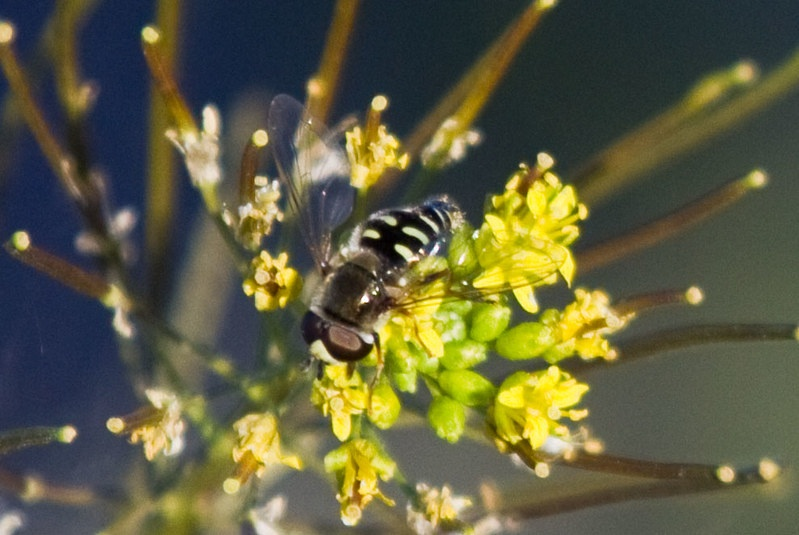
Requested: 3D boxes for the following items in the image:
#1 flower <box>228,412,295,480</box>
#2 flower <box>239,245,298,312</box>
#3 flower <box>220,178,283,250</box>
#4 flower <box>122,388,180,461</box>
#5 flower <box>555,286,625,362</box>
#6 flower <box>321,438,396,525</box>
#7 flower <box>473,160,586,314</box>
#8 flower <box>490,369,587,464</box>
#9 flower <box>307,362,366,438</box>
[{"bbox_3d":[-0.238,0.318,1.782,0.116,0.092,0.085,7,35,-23],"label":"flower"},{"bbox_3d":[-0.238,0.026,1.822,0.106,0.099,0.050,48,-7,6],"label":"flower"},{"bbox_3d":[-0.274,-0.090,1.881,0.093,0.044,0.101,-16,-13,23],"label":"flower"},{"bbox_3d":[-0.427,0.276,1.780,0.106,0.117,0.047,4,-5,-9],"label":"flower"},{"bbox_3d":[0.344,0.105,1.834,0.102,0.047,0.100,0,10,23],"label":"flower"},{"bbox_3d":[-0.073,0.354,1.755,0.123,0.147,0.059,3,5,-6],"label":"flower"},{"bbox_3d":[0.243,-0.074,1.840,0.189,0.240,0.173,23,32,3],"label":"flower"},{"bbox_3d":[0.241,0.244,1.775,0.122,0.147,0.130,-7,42,-37],"label":"flower"},{"bbox_3d":[-0.105,0.230,1.734,0.110,0.118,0.048,-3,-7,1],"label":"flower"}]
